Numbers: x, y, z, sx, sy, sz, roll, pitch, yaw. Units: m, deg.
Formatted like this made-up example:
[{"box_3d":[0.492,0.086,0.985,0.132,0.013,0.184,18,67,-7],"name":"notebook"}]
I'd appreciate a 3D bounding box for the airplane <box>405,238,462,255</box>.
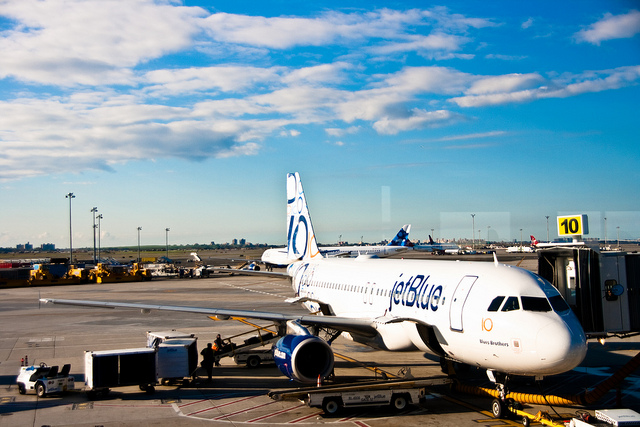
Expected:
[{"box_3d":[26.907,8.478,155.371,11.749,2.989,9.954,-4,0,-3],"name":"airplane"}]
